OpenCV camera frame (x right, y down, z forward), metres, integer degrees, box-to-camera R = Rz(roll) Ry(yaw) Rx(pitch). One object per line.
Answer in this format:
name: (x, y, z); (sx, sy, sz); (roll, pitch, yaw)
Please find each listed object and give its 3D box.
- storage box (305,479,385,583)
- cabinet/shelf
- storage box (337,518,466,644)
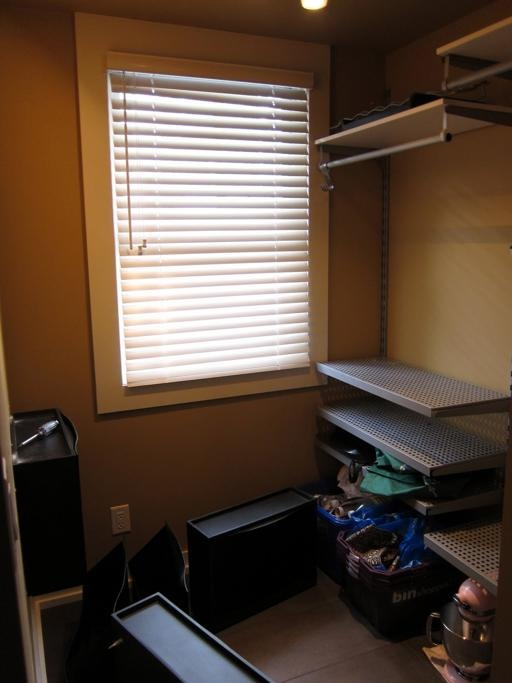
storage box: (0.343, 0.652, 2.266); (0.267, 0.300, 0.389); (-5, 11, -26)
cabinet/shelf: (0.550, 0.306, 2.147); (0.367, 0.366, 0.831); (-3, 7, -20)
storage box: (0.475, 0.827, 1.961); (0.356, 0.245, 0.301); (2, 2, -27)
